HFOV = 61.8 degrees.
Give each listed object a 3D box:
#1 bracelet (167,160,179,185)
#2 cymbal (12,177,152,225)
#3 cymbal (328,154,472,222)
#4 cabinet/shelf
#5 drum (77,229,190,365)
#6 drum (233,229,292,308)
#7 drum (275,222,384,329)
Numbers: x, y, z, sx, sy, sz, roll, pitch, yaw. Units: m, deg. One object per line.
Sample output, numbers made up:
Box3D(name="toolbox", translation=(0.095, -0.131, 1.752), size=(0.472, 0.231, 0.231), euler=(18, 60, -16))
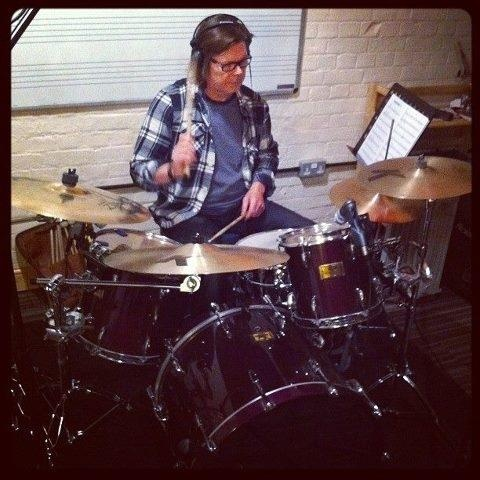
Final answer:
Box3D(name="bracelet", translation=(-0.222, -0.217, 1.303), size=(0.043, 0.045, 0.046), euler=(-15, 46, -20))
Box3D(name="cymbal", translation=(-0.471, -0.109, 1.177), size=(0.211, 0.059, 0.224), euler=(13, 16, -20))
Box3D(name="cymbal", translation=(0.512, -0.165, 1.332), size=(0.418, 0.217, 0.227), euler=(2, 4, 12))
Box3D(name="cabinet/shelf", translation=(0.561, -0.399, 1.367), size=(0.293, 0.306, 0.171), euler=(-41, 35, -18))
Box3D(name="drum", translation=(-0.304, 0.176, 1.354), size=(0.354, 0.371, 0.365), euler=(12, 15, -9))
Box3D(name="drum", translation=(0.078, 0.074, 1.378), size=(0.199, 0.239, 0.221), euler=(-11, 9, -7))
Box3D(name="drum", translation=(0.248, 0.117, 1.306), size=(0.273, 0.294, 0.290), euler=(-17, 2, -5))
